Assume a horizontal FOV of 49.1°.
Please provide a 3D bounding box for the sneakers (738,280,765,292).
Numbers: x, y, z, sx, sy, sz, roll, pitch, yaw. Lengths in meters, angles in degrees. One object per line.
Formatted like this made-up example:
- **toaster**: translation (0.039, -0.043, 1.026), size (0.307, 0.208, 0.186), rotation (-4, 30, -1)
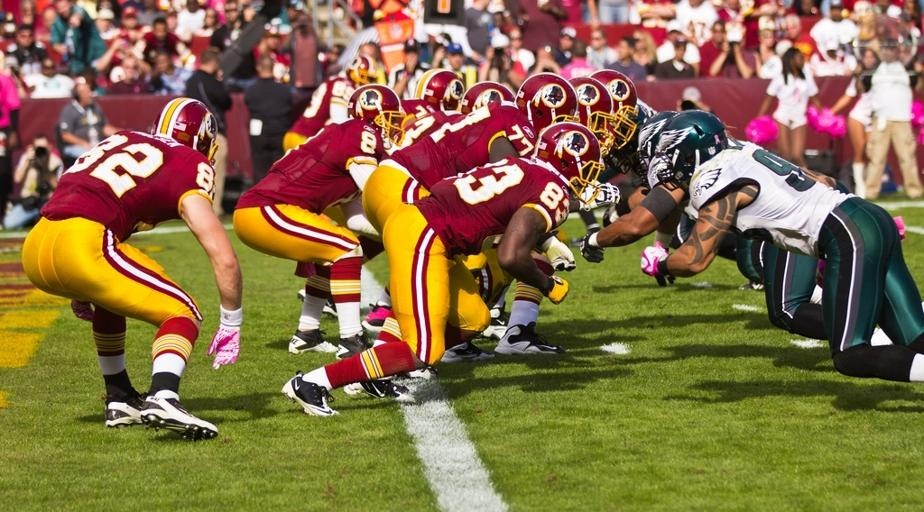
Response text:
- **sneakers**: translation (2.875, 0.299, 10.088), size (0.207, 0.088, 0.457), rotation (0, 4, -6)

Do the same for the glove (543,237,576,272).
- **glove**: translation (0.708, 0.004, 7.523), size (0.116, 0.272, 0.201), rotation (-35, 16, 40)

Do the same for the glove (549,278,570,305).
- **glove**: translation (0.728, 0.259, 7.658), size (0.124, 0.204, 0.370), rotation (1, 4, 8)

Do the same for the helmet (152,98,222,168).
- **helmet**: translation (-1.957, -0.927, 7.599), size (0.434, 0.510, 0.551), rotation (21, 19, 38)

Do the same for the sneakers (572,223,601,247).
- **sneakers**: translation (1.327, -0.227, 10.799), size (0.284, 0.098, 0.206), rotation (-31, 13, 12)

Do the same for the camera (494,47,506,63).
- **camera**: translation (0.584, -3.063, 15.474), size (0.149, 0.231, 0.232), rotation (1, 15, 9)

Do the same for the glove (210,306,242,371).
- **glove**: translation (-1.716, 0.573, 7.316), size (0.231, 0.525, 0.174), rotation (5, 0, -8)

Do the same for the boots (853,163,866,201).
- **boots**: translation (5.750, -1.103, 14.674), size (0.172, 0.488, 0.426), rotation (2, 4, 19)

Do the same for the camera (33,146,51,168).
- **camera**: translation (-5.982, -1.404, 14.401), size (0.236, 0.123, 0.305), rotation (17, -13, -12)

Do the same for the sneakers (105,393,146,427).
- **sneakers**: translation (-2.464, 1.118, 7.369), size (0.270, 0.208, 0.180), rotation (-1, 4, -15)

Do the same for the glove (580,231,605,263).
- **glove**: translation (1.075, -0.078, 8.344), size (0.169, 0.263, 0.440), rotation (1, 4, 6)
